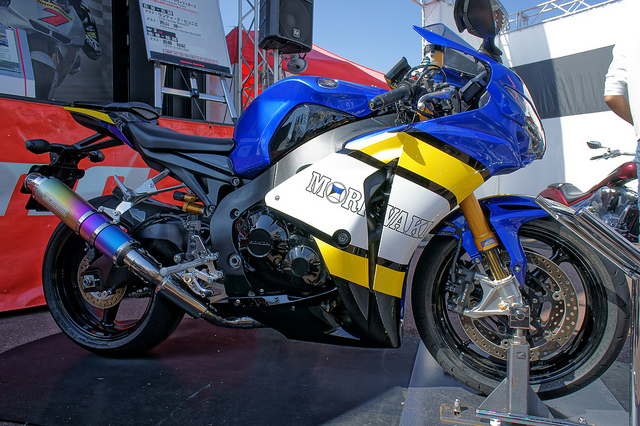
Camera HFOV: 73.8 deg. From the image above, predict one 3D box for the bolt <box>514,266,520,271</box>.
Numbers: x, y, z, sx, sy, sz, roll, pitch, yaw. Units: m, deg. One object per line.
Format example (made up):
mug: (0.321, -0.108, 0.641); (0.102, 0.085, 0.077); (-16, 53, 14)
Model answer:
bolt: (0.983, 0.280, 2.144); (0.022, 0.022, 0.006); (7, -1, 26)

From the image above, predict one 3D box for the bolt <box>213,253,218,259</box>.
bolt: (-0.577, 0.242, 2.369); (0.027, 0.027, 0.009); (2, 3, -4)

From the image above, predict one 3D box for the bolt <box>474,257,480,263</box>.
bolt: (0.803, 0.241, 2.195); (0.025, 0.029, 0.008); (6, 13, 24)

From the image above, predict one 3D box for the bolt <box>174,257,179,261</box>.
bolt: (-0.817, 0.264, 2.461); (0.025, 0.025, 0.008); (4, 1, 16)

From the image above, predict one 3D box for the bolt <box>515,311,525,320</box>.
bolt: (0.955, 0.493, 2.051); (0.042, 0.037, 0.013); (2, 12, 7)

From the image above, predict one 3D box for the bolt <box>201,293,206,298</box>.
bolt: (-0.644, 0.459, 2.379); (0.030, 0.031, 0.011); (3, 8, 6)

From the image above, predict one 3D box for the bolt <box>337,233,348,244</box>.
bolt: (0.119, 0.132, 2.205); (0.048, 0.053, 0.014); (1, 12, -2)

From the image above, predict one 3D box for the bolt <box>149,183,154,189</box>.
bolt: (-0.992, -0.163, 2.528); (0.032, 0.032, 0.008); (2, -1, -11)

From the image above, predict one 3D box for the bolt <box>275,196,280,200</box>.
bolt: (-0.223, -0.078, 2.276); (0.020, 0.020, 0.006); (1, 3, 3)

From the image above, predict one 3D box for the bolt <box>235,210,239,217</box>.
bolt: (-0.453, 0.004, 2.358); (0.027, 0.027, 0.009); (1, -2, 15)

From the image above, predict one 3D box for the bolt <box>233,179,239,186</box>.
bolt: (-0.470, -0.177, 2.419); (0.035, 0.035, 0.012); (3, -5, -3)

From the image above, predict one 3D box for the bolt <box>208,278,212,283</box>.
bolt: (-0.604, 0.373, 2.364); (0.026, 0.026, 0.006); (6, 4, 15)

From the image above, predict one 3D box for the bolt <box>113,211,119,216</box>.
bolt: (-1.187, 0.002, 2.504); (0.023, 0.023, 0.008); (-2, -2, -6)

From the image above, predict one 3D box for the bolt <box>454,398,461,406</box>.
bolt: (0.714, 0.987, 2.225); (0.023, 0.032, 0.052); (2, -7, 23)

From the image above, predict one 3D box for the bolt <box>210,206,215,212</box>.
bolt: (-0.607, -0.025, 2.434); (0.035, 0.035, 0.011); (3, 1, 8)
